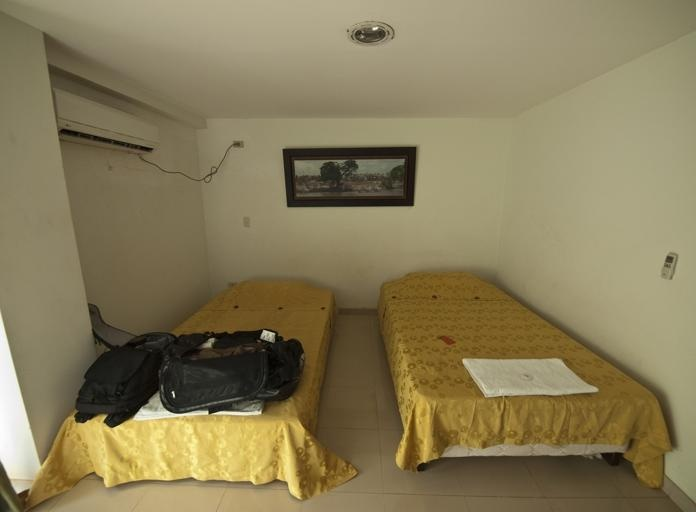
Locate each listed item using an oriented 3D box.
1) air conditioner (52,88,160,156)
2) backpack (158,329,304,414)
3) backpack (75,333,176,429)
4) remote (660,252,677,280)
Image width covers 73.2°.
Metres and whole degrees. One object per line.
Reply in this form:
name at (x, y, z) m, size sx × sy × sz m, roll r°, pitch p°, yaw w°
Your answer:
air conditioner at (-1.858, -0.961, 3.584) m, size 0.250 × 0.294 × 0.869 m, roll 8°, pitch 5°, yaw 26°
backpack at (-0.756, 0.762, 3.110) m, size 0.703 × 0.199 × 0.487 m, roll -3°, pitch 26°, yaw -7°
backpack at (-1.449, 0.820, 3.120) m, size 0.379 × 0.195 × 0.584 m, roll 4°, pitch 28°, yaw 9°
remote at (2.090, 0.059, 3.061) m, size 0.039 × 0.145 × 0.091 m, roll 10°, pitch 5°, yaw -13°
